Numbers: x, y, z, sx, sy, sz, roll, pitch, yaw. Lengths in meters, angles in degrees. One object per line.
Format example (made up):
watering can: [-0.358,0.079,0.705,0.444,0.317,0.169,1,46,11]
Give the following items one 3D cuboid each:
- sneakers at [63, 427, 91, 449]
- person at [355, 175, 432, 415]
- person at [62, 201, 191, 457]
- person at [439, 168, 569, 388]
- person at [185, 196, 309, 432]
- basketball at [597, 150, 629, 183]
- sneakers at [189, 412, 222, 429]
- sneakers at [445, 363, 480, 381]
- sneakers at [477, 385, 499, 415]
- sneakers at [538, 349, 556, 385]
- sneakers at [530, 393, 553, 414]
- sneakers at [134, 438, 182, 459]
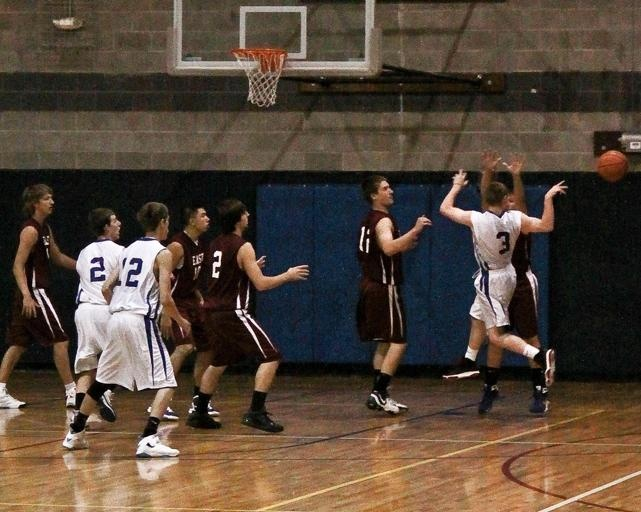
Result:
sneakers: [-1.880,1.406,6.788,0.102,0.132,0.267,2,3,11]
person: [0.614,0.353,8.010,0.566,2.225,1.490,0,1,2]
person: [-1.413,0.533,6.564,0.830,1.883,0.338,0,1,9]
person: [1.653,0.171,8.026,1.036,1.953,0.818,0,1,14]
person: [-0.651,0.497,7.184,1.064,1.936,0.417,0,1,40]
basketball: [3.069,-0.960,9.215,0.265,0.310,0.243,-1,1,-32]
sneakers: [-0.996,1.403,7.482,0.304,0.145,0.114,4,5,-12]
sneakers: [1.317,1.088,8.233,0.401,0.183,0.152,-2,-8,-5]
sneakers: [1.569,1.337,8.236,0.117,0.158,0.365,0,15,20]
sneakers: [2.006,0.981,7.741,0.133,0.320,0.116,-2,11,12]
sneakers: [2.046,1.376,8.135,0.217,0.222,0.157,-2,5,-11]
sneakers: [-1.211,1.407,6.484,0.360,0.188,0.129,3,0,-1]
